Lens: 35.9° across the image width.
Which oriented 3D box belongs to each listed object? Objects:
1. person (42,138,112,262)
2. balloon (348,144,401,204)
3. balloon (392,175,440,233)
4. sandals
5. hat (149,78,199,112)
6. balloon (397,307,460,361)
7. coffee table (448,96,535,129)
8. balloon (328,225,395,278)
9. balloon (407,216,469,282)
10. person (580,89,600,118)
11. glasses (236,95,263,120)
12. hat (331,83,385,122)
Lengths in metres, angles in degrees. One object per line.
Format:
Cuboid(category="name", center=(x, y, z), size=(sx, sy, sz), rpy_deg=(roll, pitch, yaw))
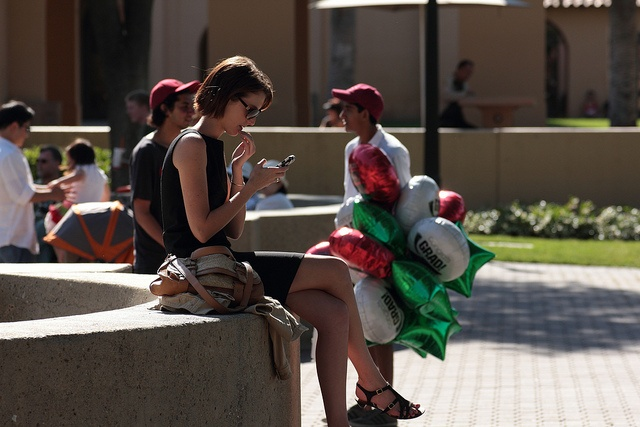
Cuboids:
Cuboid(category="person", center=(-2.761, -0.110, 11.132), size=(0.591, 0.584, 1.588), rpy_deg=(-10, 26, 0))
Cuboid(category="balloon", center=(0.473, -0.339, 8.928), size=(0.318, 0.635, 0.300), rpy_deg=(-9, 14, 12))
Cuboid(category="balloon", center=(0.901, -0.125, 9.099), size=(0.368, 0.510, 0.500), rpy_deg=(23, 25, 23))
Cuboid(category="sandals", center=(0.558, 1.570, 8.137), size=(0.585, 0.262, 0.252), rpy_deg=(14, 11, -3))
Cuboid(category="hat", center=(-1.395, -1.179, 9.369), size=(0.455, 0.207, 0.296), rpy_deg=(-27, 6, 4))
Cuboid(category="balloon", center=(0.968, 1.097, 8.895), size=(0.464, 0.167, 0.514), rpy_deg=(6, -10, 39))
Cuboid(category="coffee table", center=(3.395, -1.943, 19.034), size=(1.413, 0.572, 0.577), rpy_deg=(-1, 9, 10))
Cuboid(category="balloon", center=(0.361, 0.356, 8.868), size=(0.493, 0.237, 0.401), rpy_deg=(26, 4, -6))
Cuboid(category="balloon", center=(1.081, 0.271, 8.910), size=(0.578, 0.652, 0.483), rpy_deg=(1, 5, 32))
Cuboid(category="person", center=(9.751, -3.924, 35.652), size=(0.490, 1.062, 0.637), rpy_deg=(2, 18, 25))
Cuboid(category="glasses", center=(-0.554, -0.804, 7.641), size=(0.177, 0.052, 0.144), rpy_deg=(51, 17, 16))
Cuboid(category="hat", center=(0.360, -1.126, 9.457), size=(0.561, 0.282, 0.381), rpy_deg=(23, 7, -13))
